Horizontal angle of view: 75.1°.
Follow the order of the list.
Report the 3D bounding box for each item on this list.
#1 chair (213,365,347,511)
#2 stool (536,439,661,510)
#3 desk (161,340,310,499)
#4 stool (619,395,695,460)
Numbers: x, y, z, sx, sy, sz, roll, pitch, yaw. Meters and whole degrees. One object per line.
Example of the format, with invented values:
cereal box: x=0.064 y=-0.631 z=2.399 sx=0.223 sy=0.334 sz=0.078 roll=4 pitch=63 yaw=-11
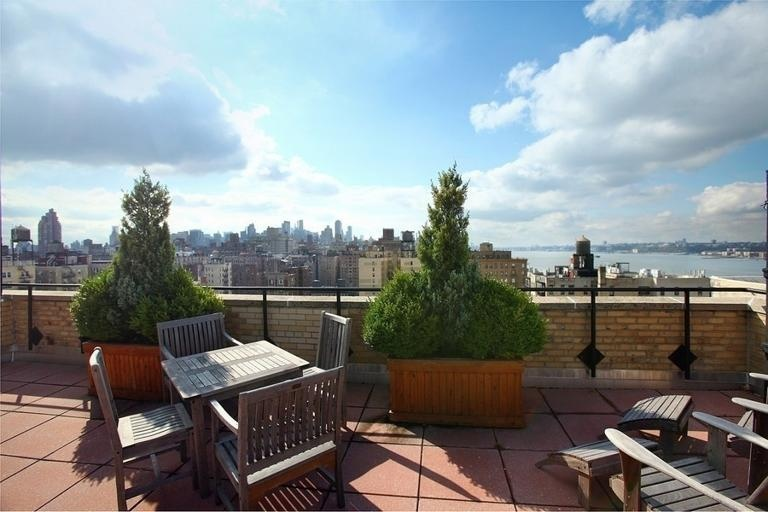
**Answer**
chair: x=-1.548 y=2.819 z=7.489 sx=1.530 sy=2.192 sz=1.300 roll=-9 pitch=21 yaw=-27
stool: x=3.080 y=3.165 z=7.789 sx=1.624 sy=0.551 sz=0.927 roll=-5 pitch=2 yaw=-39
desk: x=-2.572 y=2.561 z=8.701 sx=1.857 sy=1.502 sz=1.946 roll=-8 pitch=12 yaw=-37
stool: x=4.644 y=2.874 z=8.365 sx=0.886 sy=0.709 sz=1.307 roll=-15 pitch=-6 yaw=41
